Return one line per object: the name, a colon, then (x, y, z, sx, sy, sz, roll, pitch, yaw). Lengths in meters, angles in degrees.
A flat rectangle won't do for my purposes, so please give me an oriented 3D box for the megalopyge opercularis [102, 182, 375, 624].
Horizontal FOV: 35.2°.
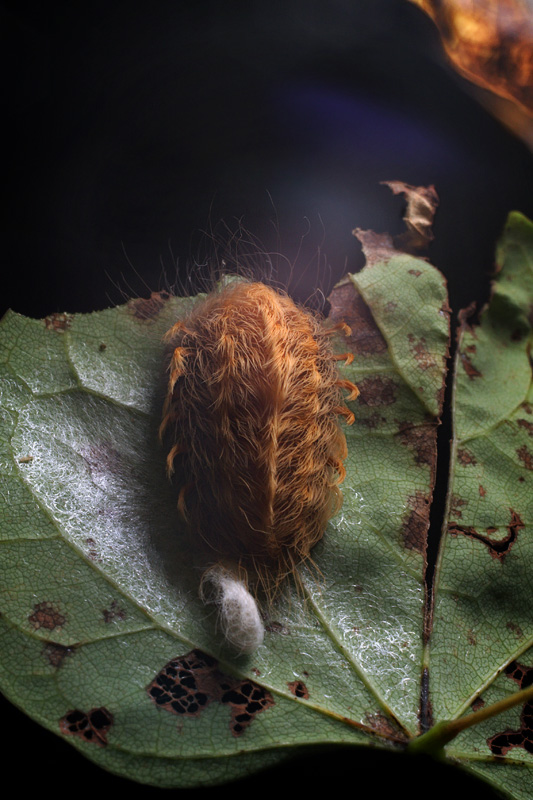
megalopyge opercularis: (-0.001, 0.029, 0.755, 0.248, 0.291, 0.124, -4, -5, 2)
